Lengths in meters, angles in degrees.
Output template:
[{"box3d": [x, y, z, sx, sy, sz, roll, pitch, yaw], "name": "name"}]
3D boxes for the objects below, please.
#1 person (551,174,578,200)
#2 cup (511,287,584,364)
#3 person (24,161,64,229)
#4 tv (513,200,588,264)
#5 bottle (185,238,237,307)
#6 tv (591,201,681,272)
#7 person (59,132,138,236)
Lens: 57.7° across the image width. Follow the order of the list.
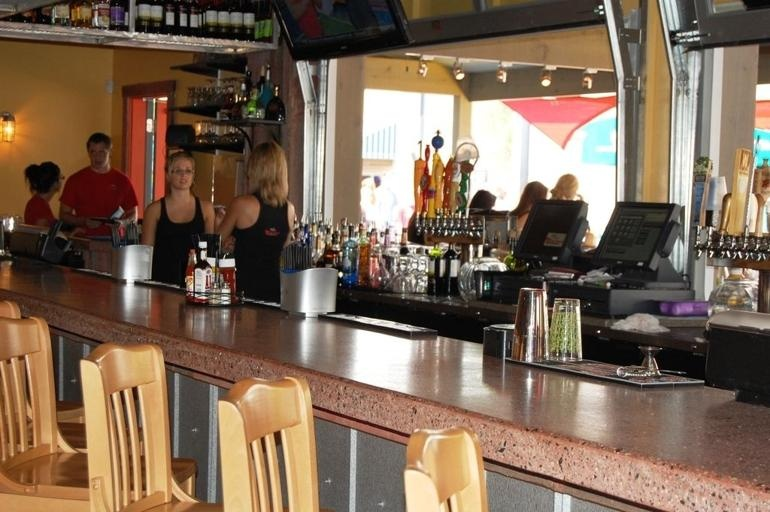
[{"box3d": [1.892, -0.740, 7.333, 0.232, 0.296, 0.963, 4, 4, 14], "name": "person"}, {"box3d": [0.527, 0.222, 2.292, 0.233, 0.231, 0.150, 0, 5, -32], "name": "cup"}, {"box3d": [-3.234, -0.601, 6.636, 0.300, 0.604, 0.854, 1, 5, -27], "name": "person"}, {"box3d": [0.905, -0.134, 3.835, 0.219, 0.351, 0.371, -1, 5, -39], "name": "tv"}, {"box3d": [-0.865, 0.074, 3.292, 0.297, 0.324, 0.283, 1, 2, 29], "name": "bottle"}, {"box3d": [1.248, -0.101, 3.475, 0.225, 0.336, 0.367, 0, 5, -35], "name": "tv"}, {"box3d": [-2.802, -0.697, 6.895, 0.703, 1.002, 0.692, 0, 5, -28], "name": "person"}]
